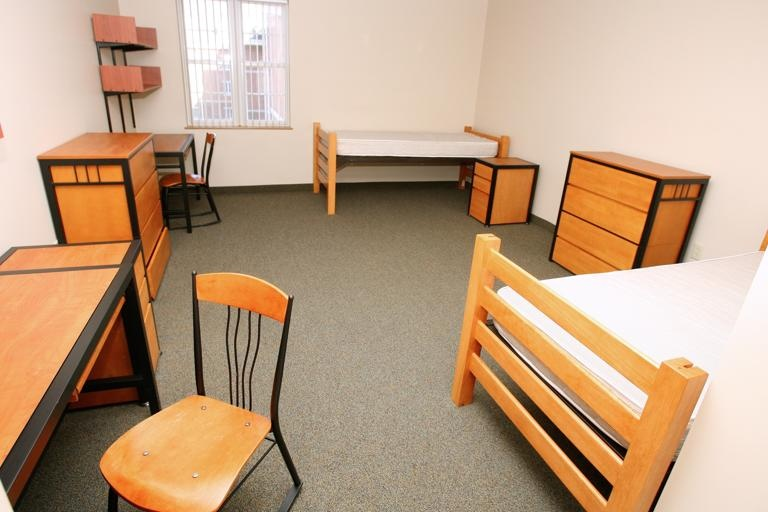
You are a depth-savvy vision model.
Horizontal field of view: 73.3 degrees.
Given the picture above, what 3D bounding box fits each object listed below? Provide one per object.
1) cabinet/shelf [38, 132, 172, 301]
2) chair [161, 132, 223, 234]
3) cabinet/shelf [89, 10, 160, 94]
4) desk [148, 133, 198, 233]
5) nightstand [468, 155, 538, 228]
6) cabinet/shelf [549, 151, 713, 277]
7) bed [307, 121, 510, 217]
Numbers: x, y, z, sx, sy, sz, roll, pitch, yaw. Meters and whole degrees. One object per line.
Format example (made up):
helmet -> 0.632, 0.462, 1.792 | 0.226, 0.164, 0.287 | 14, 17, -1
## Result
cabinet/shelf -> -2.316, -0.326, 4.531 | 0.537, 1.281, 1.466 | -4, 18, -14
chair -> -2.162, -0.816, 5.755 | 0.737, 1.235, 0.708 | -6, 35, -27
cabinet/shelf -> -2.713, -2.096, 5.356 | 0.343, 0.634, 1.010 | -8, 25, -15
desk -> -2.180, -0.746, 5.313 | 0.403, 0.580, 1.153 | -4, 26, -12
nightstand -> 1.402, -0.787, 6.197 | 0.596, 0.706, 0.560 | -2, 21, -13
cabinet/shelf -> 2.200, -0.318, 4.821 | 0.708, 1.179, 1.068 | -7, 26, -18
bed -> 0.256, -1.207, 6.573 | 2.288, 0.937, 1.059 | -5, 23, -12
